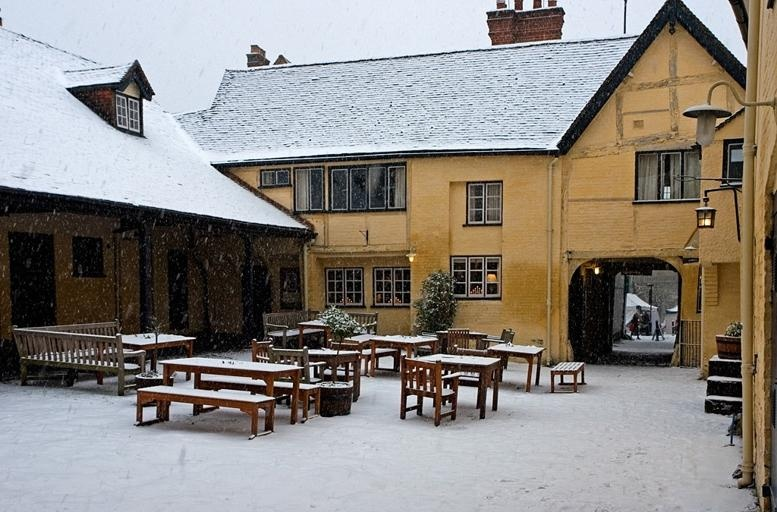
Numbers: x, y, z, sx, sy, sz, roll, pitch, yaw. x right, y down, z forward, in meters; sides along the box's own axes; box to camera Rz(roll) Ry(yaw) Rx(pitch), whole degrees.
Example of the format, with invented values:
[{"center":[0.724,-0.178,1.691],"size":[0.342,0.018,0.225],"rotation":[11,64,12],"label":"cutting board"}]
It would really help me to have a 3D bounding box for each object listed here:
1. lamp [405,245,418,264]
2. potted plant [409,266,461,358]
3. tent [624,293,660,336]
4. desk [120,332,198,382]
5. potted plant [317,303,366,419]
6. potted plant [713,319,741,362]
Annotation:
[{"center":[0.713,-0.059,27.869],"size":[0.290,0.614,0.575],"rotation":[-2,11,-23],"label":"lamp"},{"center":[1.768,1.530,27.269],"size":[1.600,2.702,1.646],"rotation":[3,8,-13],"label":"potted plant"},{"center":[12.356,3.141,43.383],"size":[2.159,2.205,2.307],"rotation":[-1,2,20],"label":"tent"},{"center":[-5.751,2.235,21.526],"size":[1.511,1.289,1.504],"rotation":[-2,-7,15],"label":"desk"},{"center":[-1.364,2.308,22.365],"size":[1.665,3.266,1.829],"rotation":[0,2,8],"label":"potted plant"},{"center":[7.918,1.972,20.113],"size":[0.721,0.643,0.661],"rotation":[-1,3,-41],"label":"potted plant"}]
